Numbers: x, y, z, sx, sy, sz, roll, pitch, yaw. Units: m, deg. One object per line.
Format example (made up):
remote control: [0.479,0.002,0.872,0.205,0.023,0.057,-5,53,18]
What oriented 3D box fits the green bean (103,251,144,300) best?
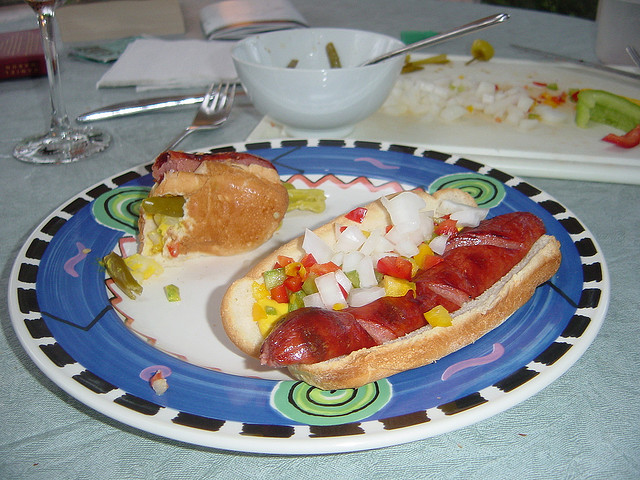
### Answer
green bean: [-0.807,0.150,2.116,0.239,0.078,0.093,44,65,4]

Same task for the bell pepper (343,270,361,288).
bell pepper: [0.137,0.153,2.009,0.070,0.021,0.059,-17,77,-11]

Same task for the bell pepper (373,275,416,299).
bell pepper: [0.301,0.172,1.879,0.097,0.032,0.079,-20,53,-28]

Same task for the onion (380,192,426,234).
onion: [0.370,-0.123,2.151,0.213,0.057,0.161,-6,74,3]

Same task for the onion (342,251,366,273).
onion: [0.138,0.085,2.060,0.097,0.021,0.067,-27,52,-10]

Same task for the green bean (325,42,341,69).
green bean: [0.092,-1.223,3.398,0.098,0.065,0.240,-11,82,-1]

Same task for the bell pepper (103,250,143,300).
bell pepper: [-0.807,0.143,2.087,0.115,0.070,0.261,-35,71,-6]

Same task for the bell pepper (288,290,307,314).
bell pepper: [-0.083,0.239,1.946,0.058,0.026,0.083,29,76,35]

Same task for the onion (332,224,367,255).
onion: [0.144,-0.028,2.212,0.159,0.194,0.063,5,79,-8]
